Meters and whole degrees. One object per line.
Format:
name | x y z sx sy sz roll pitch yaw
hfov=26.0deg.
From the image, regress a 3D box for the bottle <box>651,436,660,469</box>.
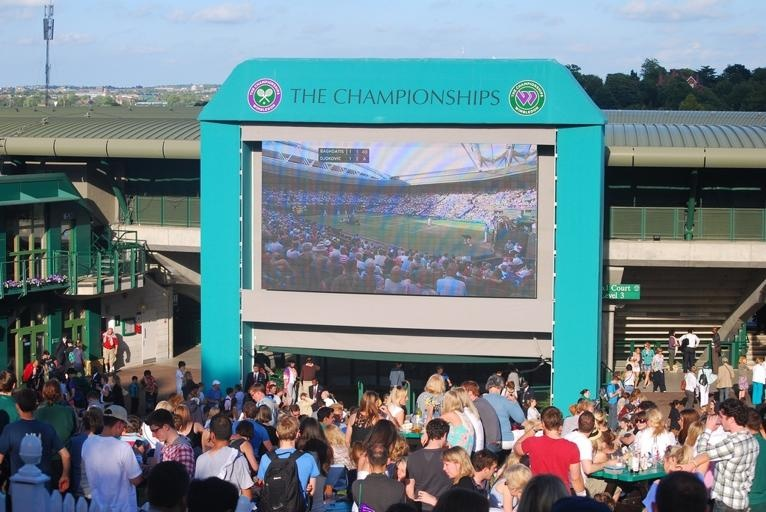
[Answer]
bottle | 6.680 4.818 40.691 0.134 0.559 0.421 1 -7 11
